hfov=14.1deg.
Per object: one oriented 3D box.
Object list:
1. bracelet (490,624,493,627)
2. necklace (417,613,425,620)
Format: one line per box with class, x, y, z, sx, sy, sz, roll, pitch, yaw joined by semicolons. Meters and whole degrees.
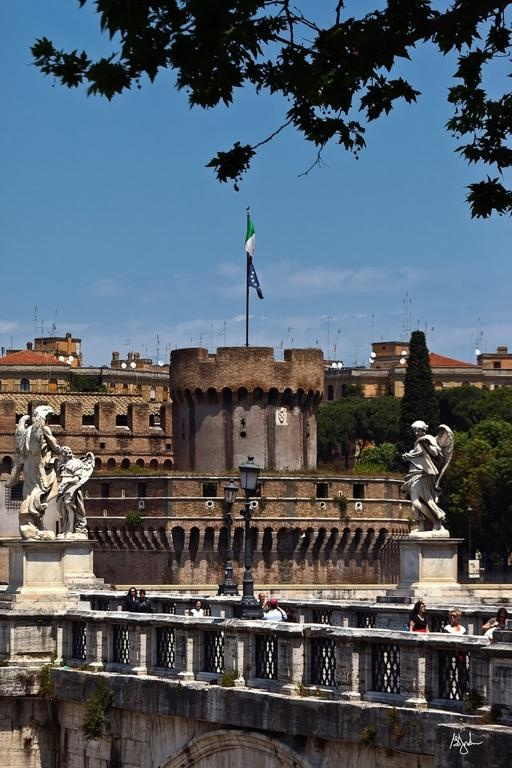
bracelet;2.474;2.543;21.925;0.009;0.022;0.026;8;-18;-35
necklace;1.762;2.522;22.540;0.032;0.072;0.061;-15;-17;43
